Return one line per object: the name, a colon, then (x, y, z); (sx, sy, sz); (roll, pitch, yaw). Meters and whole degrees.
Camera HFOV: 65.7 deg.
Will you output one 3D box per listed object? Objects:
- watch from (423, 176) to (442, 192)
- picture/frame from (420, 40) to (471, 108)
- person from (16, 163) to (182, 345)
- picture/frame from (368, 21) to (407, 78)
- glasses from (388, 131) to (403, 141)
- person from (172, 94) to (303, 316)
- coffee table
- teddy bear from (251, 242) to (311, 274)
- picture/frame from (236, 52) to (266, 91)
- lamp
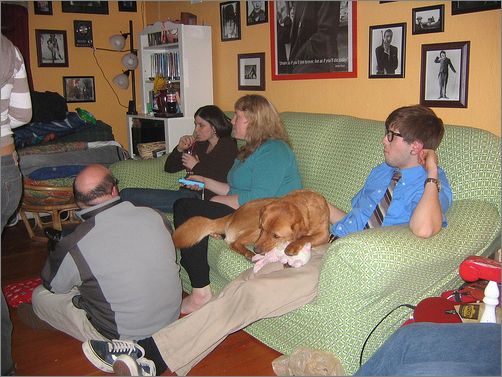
watch: (0.879, -0.033, 1.907); (0.074, 0.049, 0.079); (28, 6, 5)
picture/frame: (1.245, -0.730, 2.495); (0.022, 0.396, 0.313); (-12, 18, -43)
person: (-0.846, 0.312, 2.113); (0.806, 0.910, 0.789); (-11, 25, -26)
picture/frame: (0.970, -0.988, 2.730); (0.030, 0.443, 0.360); (-14, 19, -40)
glasses: (0.737, -0.273, 1.994); (0.049, 0.017, 0.050); (9, 16, -6)
person: (-0.086, 0.092, 2.648); (0.798, 1.427, 0.579); (1, -8, -10)
coffee table: (-1.700, 0.102, 3.274); (0.499, 0.456, 0.498); (-11, 31, -30)
teddy bear: (0.150, 0.349, 1.954); (0.256, 0.072, 0.151); (-24, 16, -11)
picture/frame: (0.012, -1.153, 3.787); (0.028, 0.397, 0.377); (-12, 18, -40)
lamp: (-1.719, -1.661, 5.257); (0.432, 1.116, 0.297); (-12, 29, -31)
